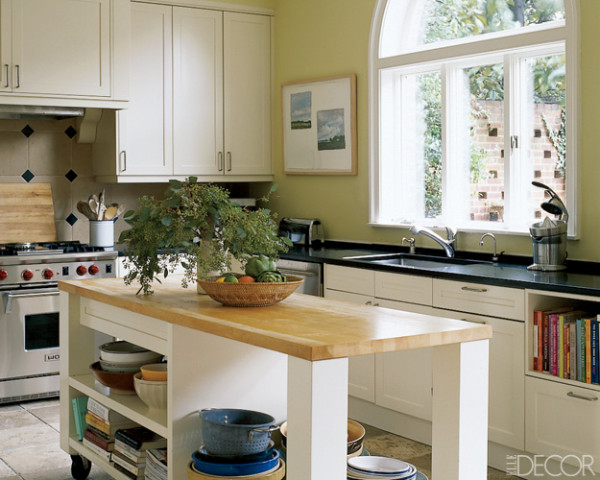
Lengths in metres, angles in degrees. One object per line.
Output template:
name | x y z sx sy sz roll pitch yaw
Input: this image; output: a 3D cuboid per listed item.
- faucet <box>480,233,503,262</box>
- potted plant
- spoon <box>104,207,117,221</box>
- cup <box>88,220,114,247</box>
faucet | 1.340 0.048 3.753 0.200 0.201 0.186 4 5 41
potted plant | -0.433 -0.024 2.325 0.635 0.472 0.540 -2 -4 -6
spoon | -1.670 -0.236 4.684 0.121 0.119 0.095 -1 4 -19
cup | -1.727 -0.055 4.617 0.219 0.242 0.225 1 3 0
